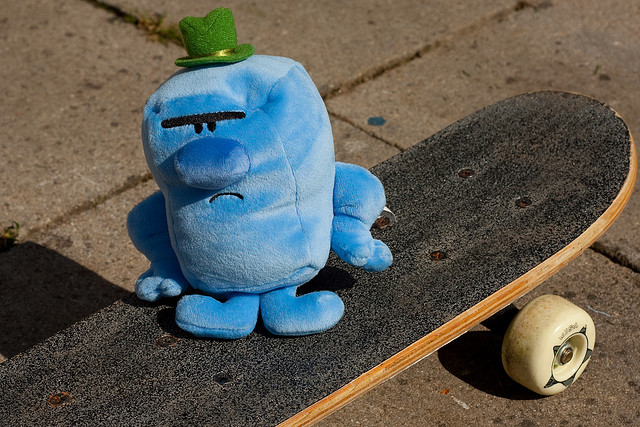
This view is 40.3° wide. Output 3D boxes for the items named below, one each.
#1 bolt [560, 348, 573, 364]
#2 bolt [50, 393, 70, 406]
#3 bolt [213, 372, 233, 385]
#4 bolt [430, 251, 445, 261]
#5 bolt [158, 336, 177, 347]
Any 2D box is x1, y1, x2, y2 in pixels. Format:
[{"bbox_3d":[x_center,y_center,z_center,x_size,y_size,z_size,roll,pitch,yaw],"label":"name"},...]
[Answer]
[{"bbox_3d":[1.223,0.709,4.366,0.056,0.064,0.035,-34,55,-18],"label":"bolt"},{"bbox_3d":[-1.176,0.837,3.938,0.082,0.011,0.056,18,60,4],"label":"bolt"},{"bbox_3d":[-0.442,0.746,3.963,0.077,0.011,0.057,28,61,10],"label":"bolt"},{"bbox_3d":[0.578,0.213,4.350,0.042,0.010,0.056,0,36,14],"label":"bolt"},{"bbox_3d":[-0.720,0.588,4.066,0.068,0.009,0.039,7,54,2],"label":"bolt"}]
